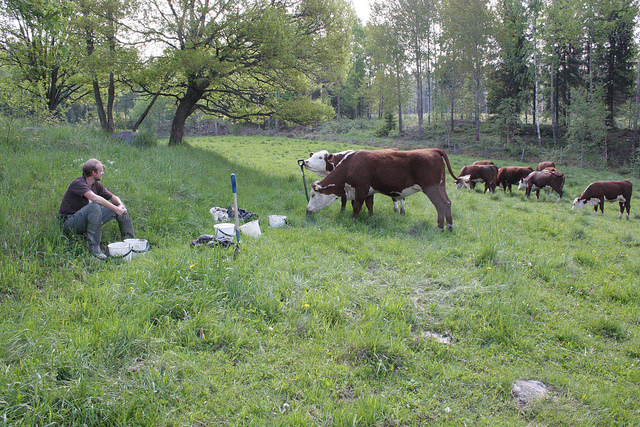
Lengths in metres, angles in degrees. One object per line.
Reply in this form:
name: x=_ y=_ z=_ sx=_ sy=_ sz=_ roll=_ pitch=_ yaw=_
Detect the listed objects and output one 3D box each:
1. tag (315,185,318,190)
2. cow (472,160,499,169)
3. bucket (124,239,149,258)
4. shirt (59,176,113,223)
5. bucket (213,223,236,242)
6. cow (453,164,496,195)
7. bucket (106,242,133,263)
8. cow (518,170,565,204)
tag: x=-0.131 y=-1.016 z=22.187 sx=0.138 sy=0.144 sz=0.038 roll=-3 pitch=10 yaw=-31
cow: x=9.081 y=-2.691 z=31.298 sx=0.404 sy=0.688 sz=1.235 roll=1 pitch=3 yaw=-41
bucket: x=-6.057 y=1.148 z=18.950 sx=0.578 sy=0.460 sz=0.599 roll=3 pitch=-3 yaw=0
shirt: x=-8.047 y=-0.392 z=19.398 sx=1.458 sy=1.627 sz=1.639 roll=-2 pitch=-7 yaw=45
bucket: x=-3.321 y=0.656 z=19.780 sx=0.558 sy=0.452 sz=0.591 roll=0 pitch=0 yaw=0
cow: x=8.501 y=-1.863 z=31.011 sx=0.821 sy=1.636 sz=2.788 roll=-10 pitch=4 yaw=-34
bucket: x=-6.600 y=1.322 z=18.829 sx=0.577 sy=0.471 sz=0.604 roll=1 pitch=-4 yaw=0
cow: x=11.387 y=-1.497 z=29.038 sx=2.077 sy=1.461 sz=1.853 roll=9 pitch=11 yaw=28
